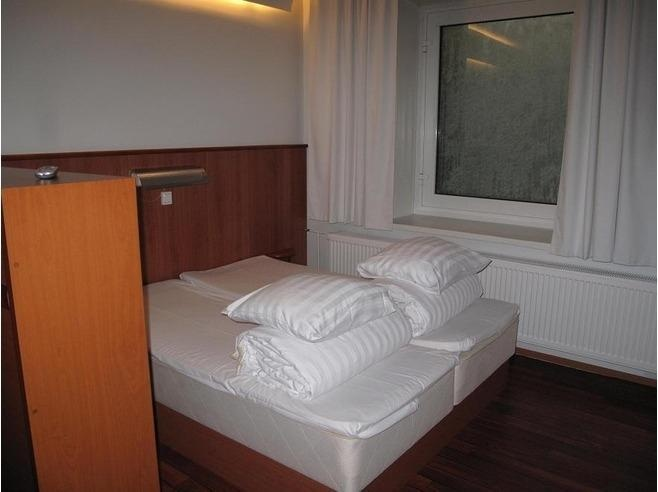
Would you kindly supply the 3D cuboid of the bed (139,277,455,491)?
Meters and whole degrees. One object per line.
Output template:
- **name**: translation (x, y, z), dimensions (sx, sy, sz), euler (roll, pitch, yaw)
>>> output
- **bed**: translation (-0.239, 0.658, 2.388), dimensions (1.448, 0.429, 0.732), euler (8, 16, 34)

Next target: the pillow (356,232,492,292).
- **pillow**: translation (0.610, 0.075, 2.860), dimensions (0.397, 0.146, 0.467), euler (10, 20, 40)

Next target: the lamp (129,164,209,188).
- **lamp**: translation (-1.016, -0.436, 2.963), dimensions (0.073, 0.092, 0.363), euler (22, 23, 29)

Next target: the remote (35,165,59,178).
- **remote**: translation (-0.936, -0.241, 1.572), dimensions (0.063, 0.037, 0.090), euler (-10, 16, -32)
